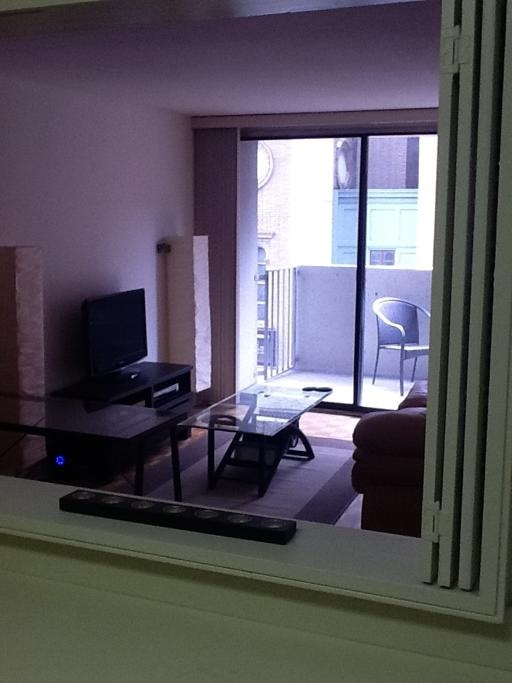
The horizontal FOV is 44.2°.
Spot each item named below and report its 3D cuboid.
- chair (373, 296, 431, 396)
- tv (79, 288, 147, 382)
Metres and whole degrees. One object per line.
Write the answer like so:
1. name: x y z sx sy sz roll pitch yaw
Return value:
1. chair: 1.337 0.029 5.544 0.583 0.785 0.439 -2 5 -24
2. tv: -0.882 -0.037 3.825 0.140 0.386 0.527 4 11 16
